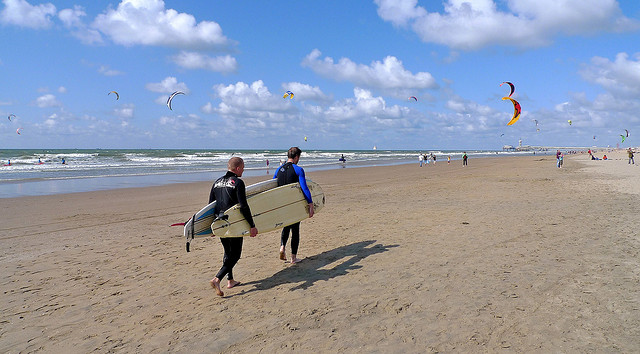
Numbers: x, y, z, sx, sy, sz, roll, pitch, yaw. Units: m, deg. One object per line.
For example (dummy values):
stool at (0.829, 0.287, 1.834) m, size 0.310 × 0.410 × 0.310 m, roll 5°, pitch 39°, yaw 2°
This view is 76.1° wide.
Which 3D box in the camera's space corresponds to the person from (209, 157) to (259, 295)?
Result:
person at (-1.886, 0.999, 8.828) m, size 1.071 × 2.905 × 1.182 m, roll -2°, pitch 15°, yaw 3°

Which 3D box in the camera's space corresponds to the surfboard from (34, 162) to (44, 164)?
surfboard at (-27.259, -1.360, 39.774) m, size 0.475 × 0.090 × 0.965 m, roll -13°, pitch 17°, yaw -38°

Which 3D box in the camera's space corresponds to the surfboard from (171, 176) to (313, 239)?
surfboard at (-1.950, 0.804, 10.176) m, size 3.890 × 0.815 × 0.604 m, roll -20°, pitch 15°, yaw -21°

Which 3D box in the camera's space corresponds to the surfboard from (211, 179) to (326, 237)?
surfboard at (-0.990, 0.712, 9.337) m, size 0.375 × 0.872 × 2.904 m, roll -30°, pitch -10°, yaw 40°
